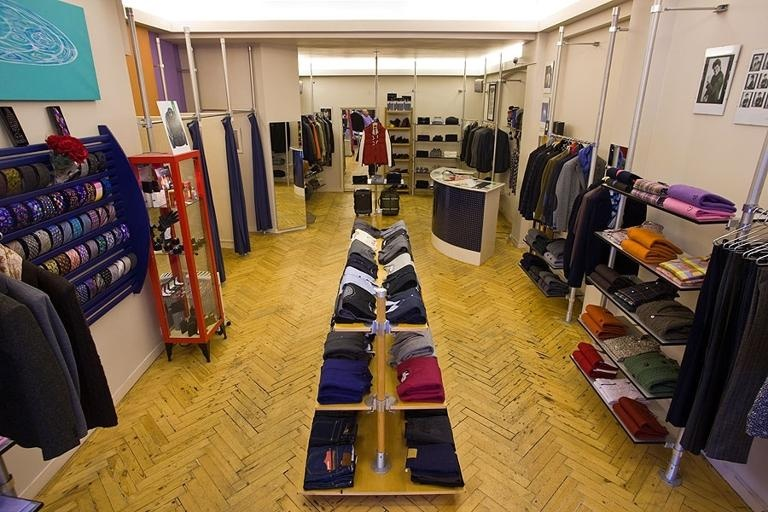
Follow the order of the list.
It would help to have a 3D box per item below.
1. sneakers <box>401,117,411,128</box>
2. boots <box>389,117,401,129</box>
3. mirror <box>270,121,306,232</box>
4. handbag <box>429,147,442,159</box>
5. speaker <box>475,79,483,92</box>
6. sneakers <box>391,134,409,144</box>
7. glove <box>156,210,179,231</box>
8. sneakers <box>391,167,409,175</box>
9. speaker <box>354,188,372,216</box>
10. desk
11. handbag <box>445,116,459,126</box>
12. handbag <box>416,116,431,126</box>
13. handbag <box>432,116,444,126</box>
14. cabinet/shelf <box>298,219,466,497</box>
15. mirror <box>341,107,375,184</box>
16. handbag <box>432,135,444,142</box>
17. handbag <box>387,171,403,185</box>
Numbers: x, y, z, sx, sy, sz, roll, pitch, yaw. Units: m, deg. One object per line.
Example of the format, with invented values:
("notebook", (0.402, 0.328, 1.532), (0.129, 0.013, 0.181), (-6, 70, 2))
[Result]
("sneakers", (0.498, -3.149, 11.390), (0.231, 0.214, 0.109), (0, 22, 1))
("boots", (0.252, -3.153, 11.410), (0.268, 0.206, 0.172), (-1, 22, -1))
("mirror", (-1.787, -1.457, 9.041), (0.729, 2.050, 0.214), (-19, 28, -38))
("handbag", (1.256, -2.480, 11.617), (0.277, 0.189, 0.204), (0, 17, 4))
("speaker", (2.026, -3.622, 10.298), (0.190, 0.257, 0.748), (4, 22, 11))
("sneakers", (0.371, -2.818, 11.625), (0.172, 0.224, 0.572), (20, 29, 40))
("glove", (-2.339, -0.401, 5.220), (0.223, 0.192, 0.150), (-10, 23, -21))
("sneakers", (0.400, -2.122, 11.982), (0.519, 0.189, 0.172), (3, 24, -11))
("speaker", (-0.443, -1.130, 10.236), (0.391, 0.549, 0.230), (-2, 22, -2))
("desk", (1.318, -0.701, 8.411), (0.888, 1.402, 1.558), (-12, 27, -22))
("handbag", (1.607, -3.209, 11.461), (0.304, 0.165, 0.234), (1, 22, 6))
("handbag", (0.933, -3.215, 11.509), (0.235, 0.149, 0.236), (0, 17, 3))
("handbag", (1.266, -3.232, 11.526), (0.287, 0.152, 0.262), (1, 22, 5))
("cabinet/shelf", (-0.013, 0.997, 4.504), (1.357, 1.839, 1.449), (-1, 22, 1))
("mirror", (-0.589, -2.459, 10.908), (0.659, 1.645, 1.920), (-3, 22, -5))
("handbag", (1.277, -2.799, 11.520), (0.239, 0.162, 0.129), (1, 10, 4))
("handbag", (0.213, -1.816, 11.628), (0.321, 0.326, 0.718), (3, 22, 11))
